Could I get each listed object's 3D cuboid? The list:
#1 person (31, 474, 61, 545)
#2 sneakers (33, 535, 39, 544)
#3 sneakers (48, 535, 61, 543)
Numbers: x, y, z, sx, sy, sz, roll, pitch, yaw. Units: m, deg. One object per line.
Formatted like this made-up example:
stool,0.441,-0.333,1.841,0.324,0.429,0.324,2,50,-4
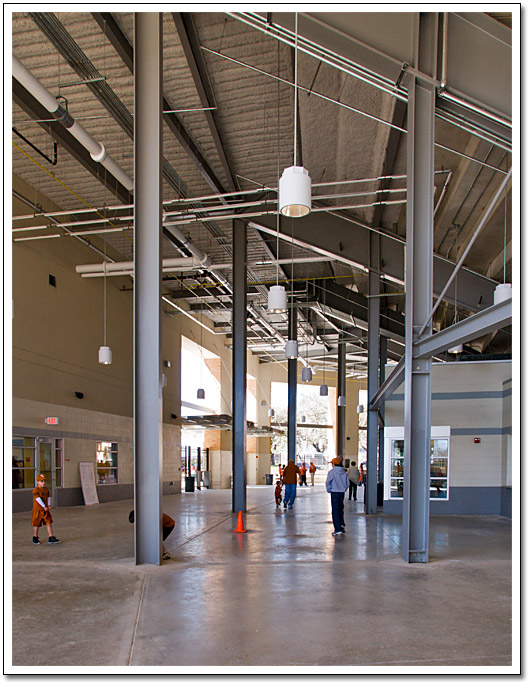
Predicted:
person,-4.465,3.433,12.256,0.505,1.343,1.065,1,-8,-20
sneakers,-4.553,3.965,11.955,0.114,0.155,0.303,2,-10,-24
sneakers,-4.187,3.954,11.933,0.182,0.147,0.275,5,-12,-38
